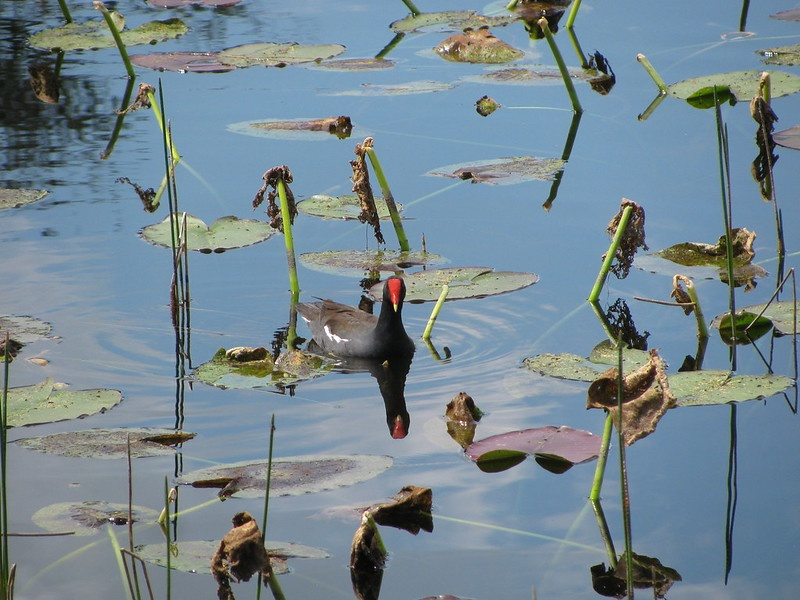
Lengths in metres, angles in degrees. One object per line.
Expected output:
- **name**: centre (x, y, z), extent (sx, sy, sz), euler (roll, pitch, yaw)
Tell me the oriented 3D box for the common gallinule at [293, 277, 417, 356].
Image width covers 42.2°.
- **common gallinule**: centre (-0.302, 0.252, 12.096), extent (0.957, 0.861, 1.815), euler (-5, 8, -18)
